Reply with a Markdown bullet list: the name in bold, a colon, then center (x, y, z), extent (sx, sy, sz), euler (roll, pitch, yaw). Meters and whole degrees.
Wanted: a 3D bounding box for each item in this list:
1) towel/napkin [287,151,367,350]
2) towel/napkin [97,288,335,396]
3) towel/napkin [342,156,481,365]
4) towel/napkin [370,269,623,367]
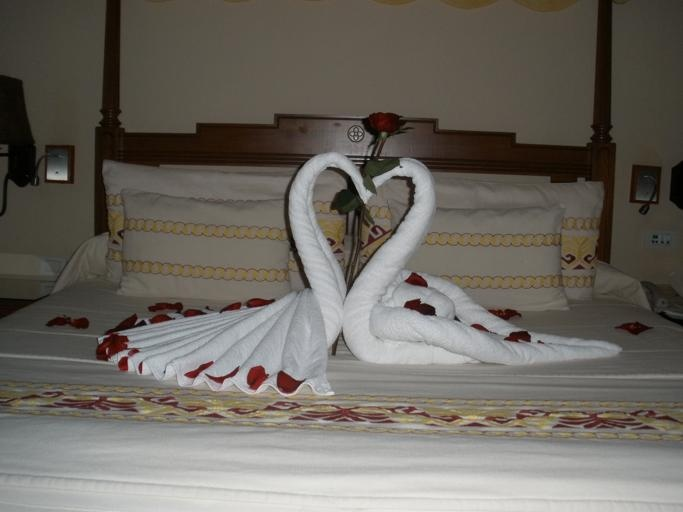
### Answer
- **towel/napkin**: center (-0.055, -0.018, 1.933), extent (0.207, 0.664, 0.147), euler (7, 25, 8)
- **towel/napkin**: center (-0.326, 0.275, 1.736), extent (0.392, 0.145, 0.400), euler (3, 3, -26)
- **towel/napkin**: center (0.259, 0.005, 1.885), extent (0.443, 0.746, 0.202), euler (-3, -31, 17)
- **towel/napkin**: center (0.437, 0.236, 1.832), extent (0.596, 0.212, 0.371), euler (0, -2, 10)
